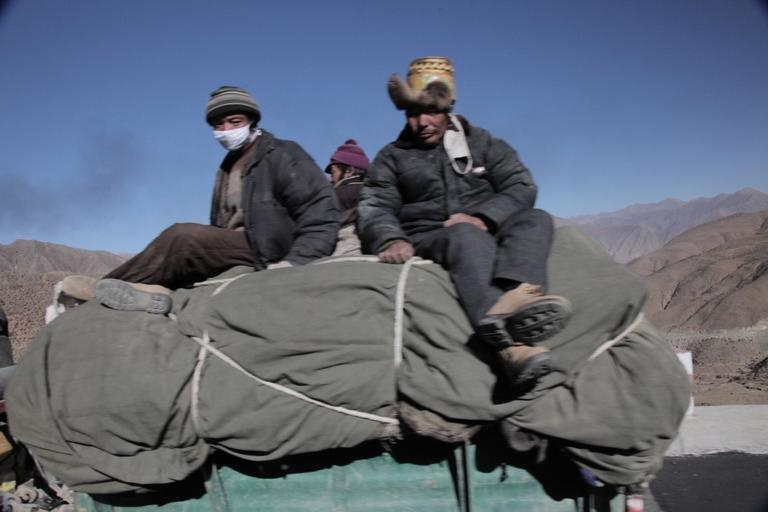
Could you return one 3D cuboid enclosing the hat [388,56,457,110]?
[{"bbox_3d":[0.301,-1.341,6.267,0.621,0.368,0.385,-7,13,-15],"label":"hat"}]

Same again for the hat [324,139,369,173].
[{"bbox_3d":[-0.371,-1.152,9.101,0.515,0.339,0.381,7,9,-2],"label":"hat"}]

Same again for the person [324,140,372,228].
[{"bbox_3d":[-0.370,-0.788,8.555,0.678,1.000,0.445,-2,2,-2],"label":"person"}]
